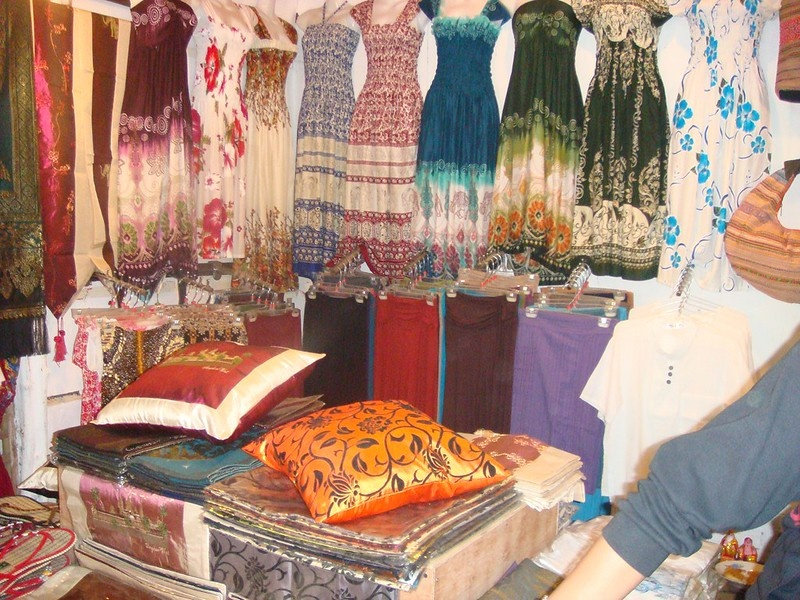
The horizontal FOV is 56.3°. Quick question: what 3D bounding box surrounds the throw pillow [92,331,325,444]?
[{"bbox_3d":[-0.717,0.320,2.739,0.427,0.169,0.490,0,21,18],"label":"throw pillow"}]
